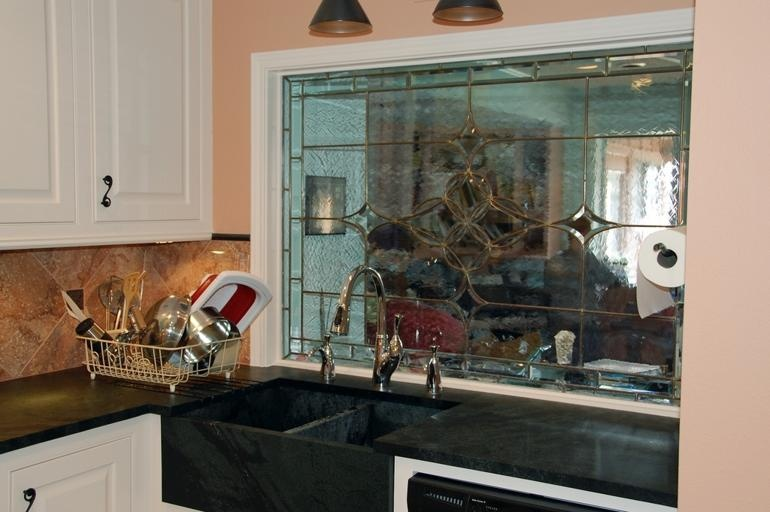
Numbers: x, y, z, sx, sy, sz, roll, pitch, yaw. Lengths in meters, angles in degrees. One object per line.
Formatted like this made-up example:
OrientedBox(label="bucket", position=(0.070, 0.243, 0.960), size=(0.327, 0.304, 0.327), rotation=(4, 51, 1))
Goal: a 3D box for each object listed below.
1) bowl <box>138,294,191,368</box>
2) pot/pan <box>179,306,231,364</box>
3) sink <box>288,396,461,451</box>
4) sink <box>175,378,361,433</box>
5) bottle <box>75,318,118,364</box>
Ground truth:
OrientedBox(label="bowl", position=(-0.839, 0.289, 2.470), size=(0.186, 0.259, 0.157), rotation=(-3, 12, -14))
OrientedBox(label="pot/pan", position=(-0.693, 0.300, 2.485), size=(0.094, 0.197, 0.187), rotation=(33, 30, 13))
OrientedBox(label="sink", position=(-0.062, 0.533, 2.319), size=(0.303, 0.163, 0.312), rotation=(3, 5, 37))
OrientedBox(label="sink", position=(-0.416, 0.573, 2.414), size=(0.351, 0.176, 0.333), rotation=(2, 3, 37))
OrientedBox(label="bottle", position=(-1.160, 0.342, 2.576), size=(0.110, 0.178, 0.183), rotation=(-40, 23, -7))
